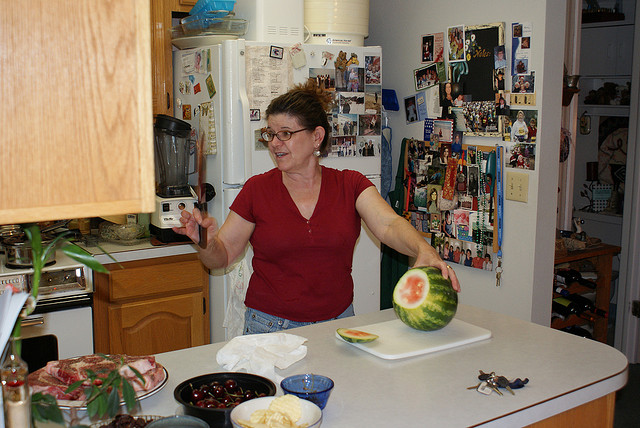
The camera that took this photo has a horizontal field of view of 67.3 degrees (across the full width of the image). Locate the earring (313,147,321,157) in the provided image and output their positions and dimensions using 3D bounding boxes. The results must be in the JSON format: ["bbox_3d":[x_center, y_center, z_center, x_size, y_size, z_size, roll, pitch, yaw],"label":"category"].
[{"bbox_3d":[-0.019,-0.284,2.172,0.027,0.044,0.022,1,-12,-3],"label":"earring"}]

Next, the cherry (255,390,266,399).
[{"bbox_3d":[-0.160,0.485,1.287,0.016,0.019,0.040,-13,9,-21],"label":"cherry"}]

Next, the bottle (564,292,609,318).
[{"bbox_3d":[1.978,0.681,3.565,0.059,0.061,0.229,-10,35,-41],"label":"bottle"}]

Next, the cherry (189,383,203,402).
[{"bbox_3d":[-0.325,0.477,1.284,0.021,0.023,0.045,-27,34,-11],"label":"cherry"}]

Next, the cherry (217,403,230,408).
[{"bbox_3d":[-0.256,0.497,1.243,0.017,0.009,0.010,-4,51,12],"label":"cherry"}]

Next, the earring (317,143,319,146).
[{"bbox_3d":[-0.009,-0.317,2.177,0.003,0.012,0.017,8,13,18],"label":"earring"}]

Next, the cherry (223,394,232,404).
[{"bbox_3d":[-0.244,0.485,1.260,0.023,0.009,0.027,2,14,-9],"label":"cherry"}]

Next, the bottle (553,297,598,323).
[{"bbox_3d":[1.838,0.698,3.514,0.331,0.144,0.142,0,13,-17],"label":"bottle"}]

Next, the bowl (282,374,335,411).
[{"bbox_3d":[-0.043,0.489,1.343,0.142,0.073,0.153,-5,-18,-2],"label":"bowl"}]

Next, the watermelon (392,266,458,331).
[{"bbox_3d":[0.379,0.314,1.738,0.220,0.225,0.150,7,13,12],"label":"watermelon"}]

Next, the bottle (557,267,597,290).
[{"bbox_3d":[1.853,0.452,3.506,0.375,0.174,0.131,-1,13,-22],"label":"bottle"}]

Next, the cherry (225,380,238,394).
[{"bbox_3d":[-0.243,0.470,1.308,0.026,0.027,0.027,1,19,2],"label":"cherry"}]

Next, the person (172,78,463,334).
[{"bbox_3d":[-0.012,-0.013,2.053,0.905,1.095,0.600,5,12,4],"label":"person"}]

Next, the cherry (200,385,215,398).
[{"bbox_3d":[-0.303,0.475,1.286,0.041,0.022,0.017,28,-23,-4],"label":"cherry"}]
